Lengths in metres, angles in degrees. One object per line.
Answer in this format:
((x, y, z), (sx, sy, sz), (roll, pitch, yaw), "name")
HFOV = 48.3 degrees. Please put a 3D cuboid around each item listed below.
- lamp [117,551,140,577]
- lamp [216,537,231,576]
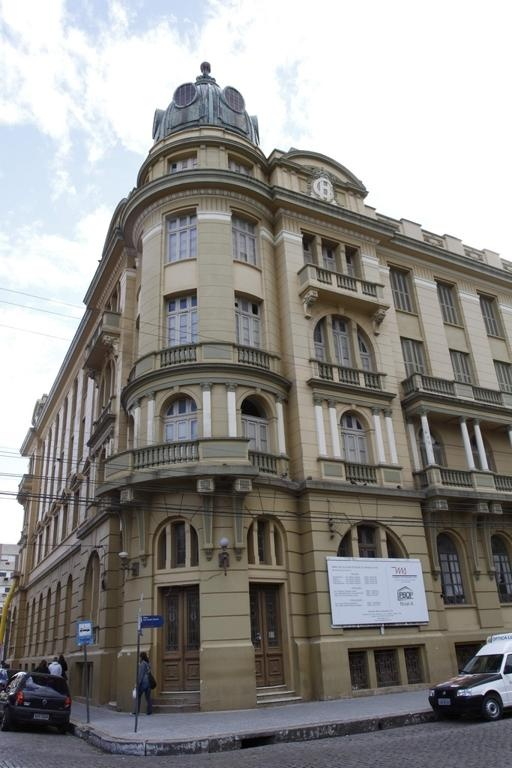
((-4.387, 6.125, 19.355), (0.654, 0.904, 1.039), (9, -30, -24), "lamp")
((-0.983, 5.399, 17.771), (0.377, 0.999, 0.528), (1, -27, -9), "lamp")
